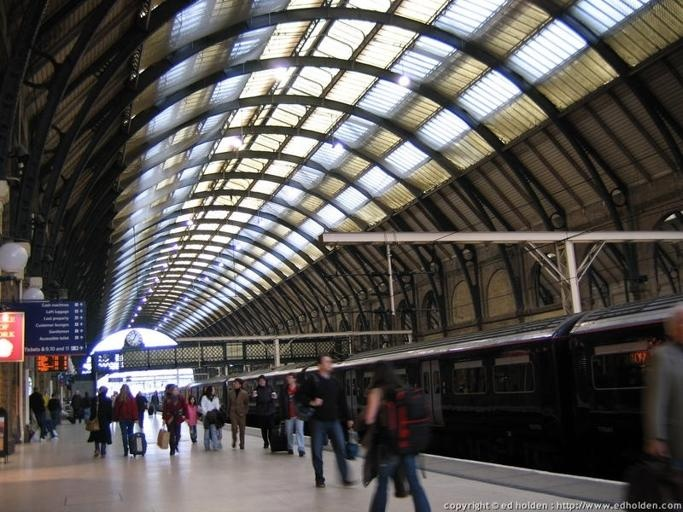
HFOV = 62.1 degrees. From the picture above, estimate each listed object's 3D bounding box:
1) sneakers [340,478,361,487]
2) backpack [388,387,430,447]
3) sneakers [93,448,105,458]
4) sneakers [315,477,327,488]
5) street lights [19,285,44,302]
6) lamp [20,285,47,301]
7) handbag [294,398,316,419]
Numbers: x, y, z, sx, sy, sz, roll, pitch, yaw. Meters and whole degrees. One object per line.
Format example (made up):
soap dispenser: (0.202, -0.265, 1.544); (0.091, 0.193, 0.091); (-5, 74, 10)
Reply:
sneakers: (0.143, 3.573, 8.945); (0.254, 0.128, 0.541); (-4, -14, 0)
backpack: (0.717, 1.792, 6.222); (0.486, 0.776, 0.581); (-6, -10, 19)
sneakers: (-6.718, 5.495, 15.857); (0.239, 0.267, 0.679); (4, -6, -19)
sneakers: (-0.336, 3.654, 9.105); (0.143, 0.162, 0.399); (3, -18, -12)
street lights: (-8.658, 1.053, 16.009); (0.465, 0.563, 0.959); (3, -16, -25)
lamp: (-8.634, 1.060, 15.958); (0.465, 0.522, 0.853); (3, -16, -25)
handbag: (-0.586, 2.449, 8.978); (0.358, 0.316, 0.224); (-1, -8, 31)
